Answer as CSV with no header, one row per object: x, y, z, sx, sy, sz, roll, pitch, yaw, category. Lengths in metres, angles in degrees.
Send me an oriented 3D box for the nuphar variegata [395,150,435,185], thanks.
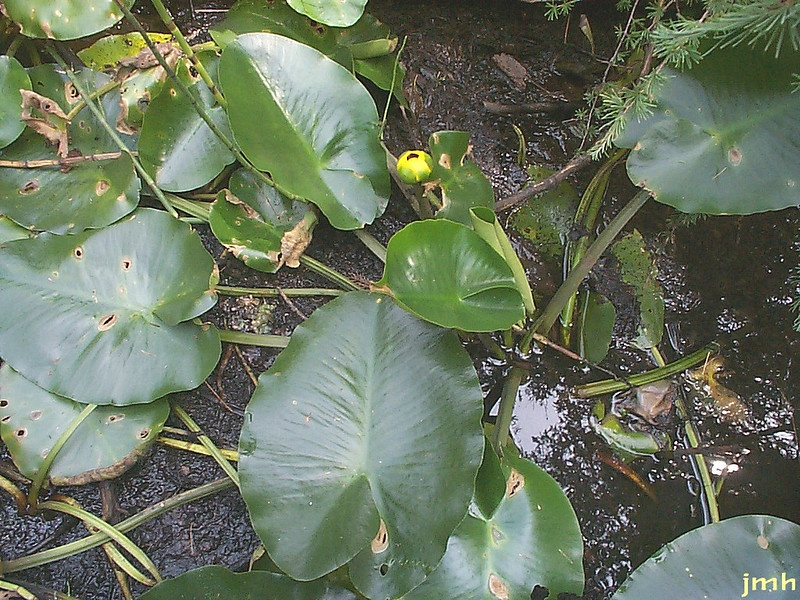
0.044,-0.361,2.472,0.084,0.055,0.094,-30,93,1,nuphar variegata
